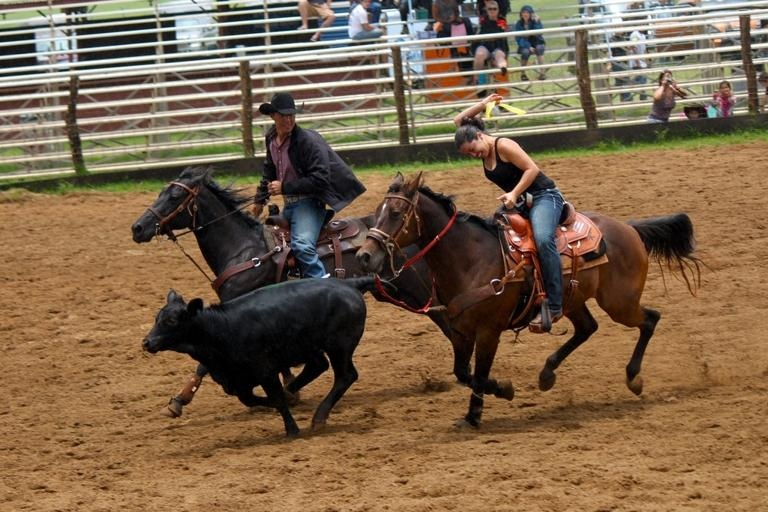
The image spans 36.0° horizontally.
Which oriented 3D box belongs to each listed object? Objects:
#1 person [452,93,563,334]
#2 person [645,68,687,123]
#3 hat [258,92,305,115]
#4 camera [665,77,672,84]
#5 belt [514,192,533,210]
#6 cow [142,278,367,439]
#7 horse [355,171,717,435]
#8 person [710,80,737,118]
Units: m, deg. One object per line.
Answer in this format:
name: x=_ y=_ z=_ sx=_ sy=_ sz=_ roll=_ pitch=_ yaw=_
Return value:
person: x=1.896 y=-0.515 z=16.738 sx=1.166 sy=3.275 sz=0.899 roll=-2 pitch=13 yaw=22
person: x=5.926 y=-3.344 z=24.866 sx=0.702 sy=1.064 sz=1.080 roll=-2 pitch=11 yaw=20
hat: x=-1.488 y=-2.170 z=17.109 sx=0.581 sy=0.315 sz=0.527 roll=-6 pitch=10 yaw=-4
camera: x=5.942 y=-3.612 z=24.501 sx=0.102 sy=0.111 sz=0.420 roll=-1 pitch=10 yaw=24
belt: x=2.008 y=-0.761 z=16.814 sx=0.106 sy=0.256 sz=0.203 roll=26 pitch=14 yaw=-29
cow: x=-1.760 y=1.387 z=16.709 sx=3.907 sy=2.089 sz=1.133 roll=-11 pitch=19 yaw=-38
horse: x=2.383 y=0.560 z=17.698 sx=6.657 sy=3.418 sz=1.488 roll=-5 pitch=6 yaw=-38
person: x=7.221 y=-3.314 z=25.102 sx=0.465 sy=0.718 sz=0.734 roll=-3 pitch=11 yaw=15
